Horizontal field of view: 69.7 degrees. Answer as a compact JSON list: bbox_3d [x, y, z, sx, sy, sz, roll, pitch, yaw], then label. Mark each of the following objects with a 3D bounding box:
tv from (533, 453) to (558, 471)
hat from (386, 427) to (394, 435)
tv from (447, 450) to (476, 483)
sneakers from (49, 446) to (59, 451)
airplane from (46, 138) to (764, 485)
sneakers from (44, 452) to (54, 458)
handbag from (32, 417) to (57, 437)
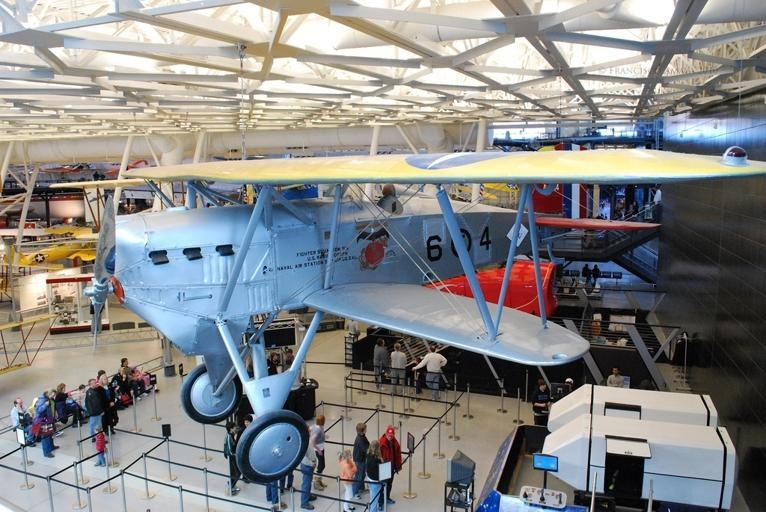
[{"bbox_3d":[2.992,3.786,10.088,0.396,0.354,0.668,2,0,14],"label":"tv"},{"bbox_3d":[0.152,3.797,11.956,0.168,0.137,0.192,1,-4,3],"label":"hat"},{"bbox_3d":[1.669,4.323,11.229,0.531,0.467,0.745,1,0,16],"label":"tv"},{"bbox_3d":[-8.708,5.057,14.493,0.231,0.081,0.071,0,10,-22],"label":"sneakers"},{"bbox_3d":[-0.594,1.164,11.934,10.113,5.234,6.148,2,0,21],"label":"airplane"},{"bbox_3d":[-8.586,5.119,14.153,0.188,0.073,0.099,-7,-7,31],"label":"sneakers"},{"bbox_3d":[-8.647,4.330,14.108,0.537,0.438,0.503,8,11,16],"label":"handbag"}]
